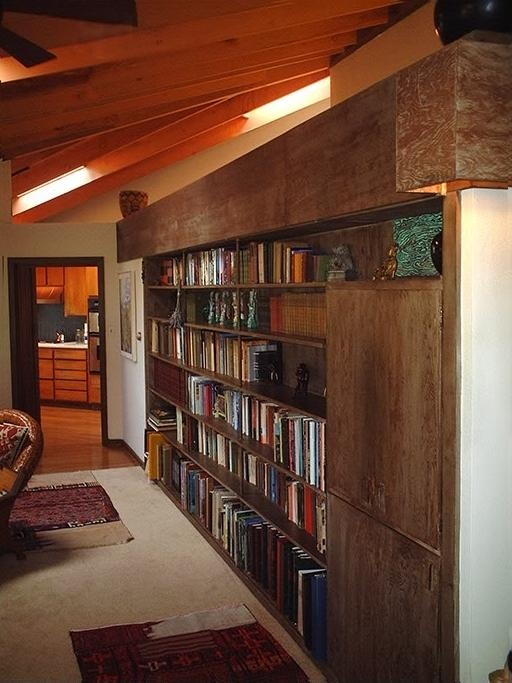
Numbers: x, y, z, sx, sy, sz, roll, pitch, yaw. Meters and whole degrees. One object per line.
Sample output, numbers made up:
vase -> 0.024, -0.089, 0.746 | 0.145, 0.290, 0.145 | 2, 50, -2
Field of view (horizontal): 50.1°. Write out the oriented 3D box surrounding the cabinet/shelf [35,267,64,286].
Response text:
cabinet/shelf -> -3.791, -1.193, 10.102 | 0.577, 0.499, 0.191 | 4, 5, 18

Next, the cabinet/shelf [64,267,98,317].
cabinet/shelf -> -3.320, -0.982, 10.456 | 0.683, 0.950, 0.801 | -5, 13, -21

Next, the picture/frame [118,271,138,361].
picture/frame -> -1.568, -0.307, 6.696 | 0.040, 1.111, 1.099 | -2, 5, -23

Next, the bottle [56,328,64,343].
bottle -> -3.764, -0.089, 10.492 | 0.174, 0.228, 0.191 | -1, 2, 0

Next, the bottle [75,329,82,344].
bottle -> -3.374, -0.103, 10.461 | 0.125, 0.277, 0.241 | -2, 2, -21
